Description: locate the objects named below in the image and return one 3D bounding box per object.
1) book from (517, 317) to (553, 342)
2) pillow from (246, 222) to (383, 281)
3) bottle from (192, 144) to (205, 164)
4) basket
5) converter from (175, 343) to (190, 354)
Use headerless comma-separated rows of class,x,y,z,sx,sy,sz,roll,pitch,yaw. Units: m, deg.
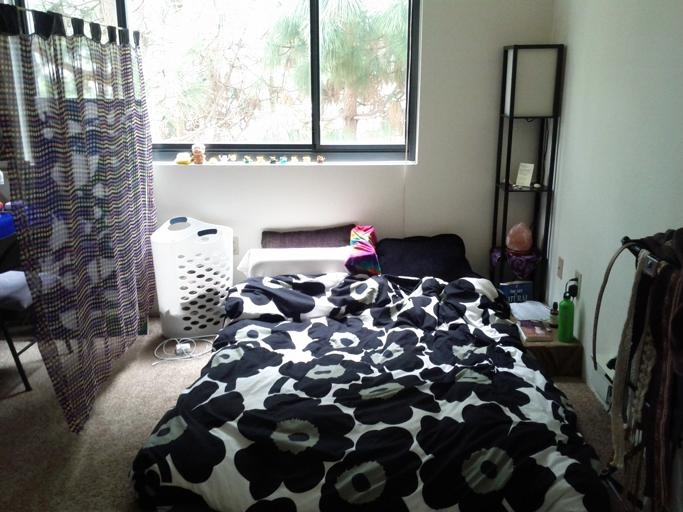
book,1.173,0.444,3.005,0.125,0.032,0.136,1,24,0
pillow,-0.166,-0.007,3.409,0.630,0.262,0.430,-4,23,-4
bottle,-1.040,-0.739,3.640,0.095,0.144,0.119,-6,15,-18
basket,-1.058,0.149,3.459,0.435,0.757,0.472,2,5,33
converter,-1.038,0.588,3.259,0.083,0.058,0.065,3,40,-7
